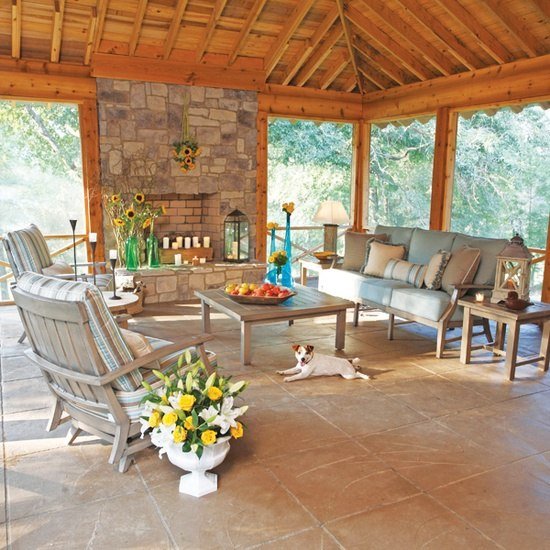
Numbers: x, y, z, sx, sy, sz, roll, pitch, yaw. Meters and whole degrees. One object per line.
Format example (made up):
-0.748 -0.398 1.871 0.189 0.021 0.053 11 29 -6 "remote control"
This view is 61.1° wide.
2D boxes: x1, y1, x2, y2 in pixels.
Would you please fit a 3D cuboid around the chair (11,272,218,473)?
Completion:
-0.904 0.399 2.761 0.907 1.043 1.185 9 11 39 "chair"

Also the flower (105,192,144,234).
-1.991 -0.827 6.370 0.564 0.523 0.607 -12 10 -16 "flower"

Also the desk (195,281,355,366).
0.065 0.296 4.110 0.897 0.316 1.023 -3 8 -22 "desk"

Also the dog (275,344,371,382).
0.361 0.695 3.670 0.763 0.230 0.282 2 -5 -4 "dog"

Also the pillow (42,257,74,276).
-2.148 -0.069 4.613 0.219 0.056 0.187 17 16 -29 "pillow"

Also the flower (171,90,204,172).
-1.228 -1.953 6.386 0.382 0.989 0.500 0 12 -9 "flower"

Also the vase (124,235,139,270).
-1.926 -0.305 6.212 0.180 0.454 0.298 -2 12 -16 "vase"

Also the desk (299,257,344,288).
0.690 0.021 6.670 0.562 0.537 0.645 -3 6 -26 "desk"

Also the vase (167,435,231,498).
-0.379 0.868 2.245 0.309 0.192 0.288 -2 1 -42 "vase"
